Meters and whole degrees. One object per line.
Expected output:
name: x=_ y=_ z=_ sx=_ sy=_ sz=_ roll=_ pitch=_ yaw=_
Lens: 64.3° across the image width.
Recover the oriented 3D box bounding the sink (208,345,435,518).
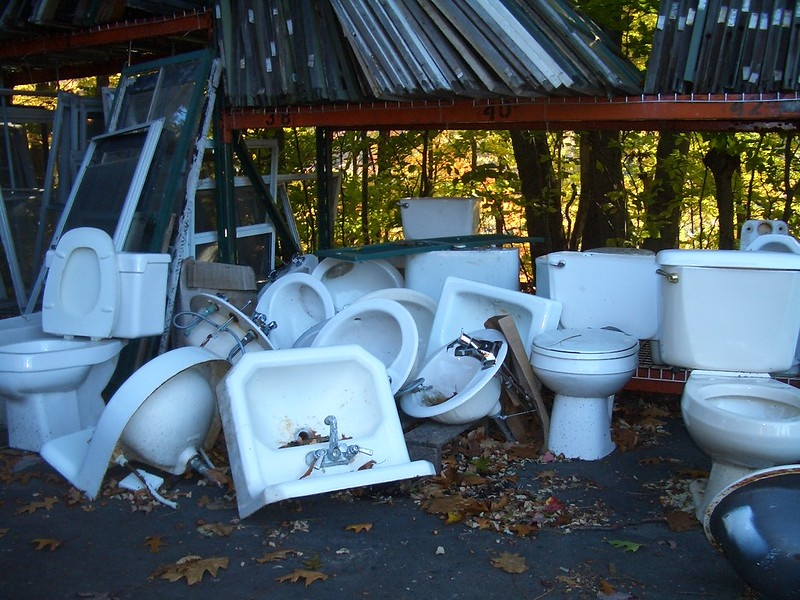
sink: x=-0.441 y=0.701 z=3.452 sx=0.995 sy=0.857 sz=0.517 roll=0 pitch=-35 yaw=-25

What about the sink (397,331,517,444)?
sink: x=0.365 y=0.565 z=3.993 sx=0.457 sy=0.486 sz=0.468 roll=-36 pitch=26 yaw=16

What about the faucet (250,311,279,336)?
faucet: x=-1.002 y=0.170 z=4.672 sx=0.099 sy=0.158 sz=0.102 roll=-38 pitch=5 yaw=24

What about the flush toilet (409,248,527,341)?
flush toilet: x=0.469 y=-0.046 z=4.978 sx=0.889 sy=0.512 sz=0.449 roll=2 pitch=15 yaw=13

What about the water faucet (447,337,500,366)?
water faucet: x=0.516 y=0.301 z=3.949 sx=0.170 sy=0.170 sz=0.349 roll=-8 pitch=10 yaw=-40

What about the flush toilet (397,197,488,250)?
flush toilet: x=0.363 y=-0.780 z=6.235 sx=0.701 sy=0.379 sz=0.457 roll=0 pitch=4 yaw=11

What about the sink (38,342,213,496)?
sink: x=-1.471 y=0.674 z=3.615 sx=1.003 sy=0.782 sz=0.538 roll=-3 pitch=9 yaw=-12

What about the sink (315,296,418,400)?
sink: x=-0.255 y=0.221 z=4.343 sx=0.282 sy=0.691 sz=0.737 roll=-33 pitch=-4 yaw=15
